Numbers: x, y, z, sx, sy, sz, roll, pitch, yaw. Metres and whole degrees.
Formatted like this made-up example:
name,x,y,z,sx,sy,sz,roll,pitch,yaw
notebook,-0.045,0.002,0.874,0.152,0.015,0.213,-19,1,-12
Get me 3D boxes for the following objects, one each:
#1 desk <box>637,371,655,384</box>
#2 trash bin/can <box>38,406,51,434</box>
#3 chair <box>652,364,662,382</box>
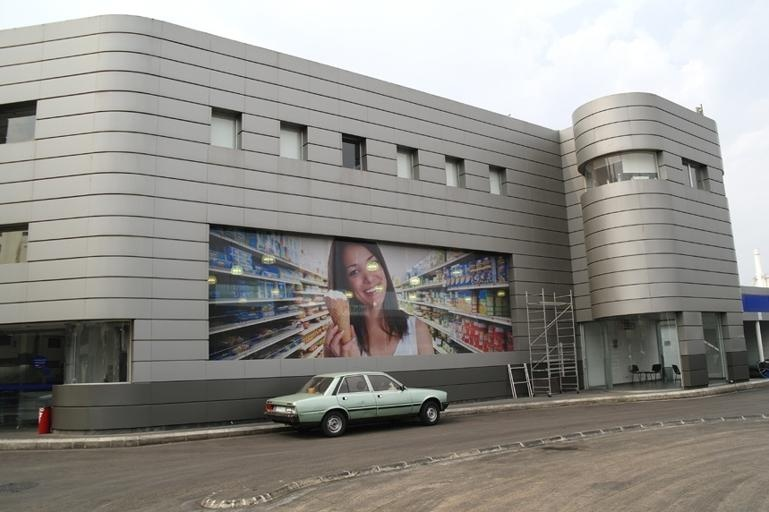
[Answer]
name,x,y,z,sx,sy,sz,roll,pitch,yaw
desk,13.572,6.208,25.571,0.548,0.570,0.903,-2,-5,8
trash bin/can,-11.117,5.332,16.136,0.318,0.815,0.506,5,-12,-37
chair,13.920,5.826,25.132,0.319,0.837,0.686,0,-9,-8
